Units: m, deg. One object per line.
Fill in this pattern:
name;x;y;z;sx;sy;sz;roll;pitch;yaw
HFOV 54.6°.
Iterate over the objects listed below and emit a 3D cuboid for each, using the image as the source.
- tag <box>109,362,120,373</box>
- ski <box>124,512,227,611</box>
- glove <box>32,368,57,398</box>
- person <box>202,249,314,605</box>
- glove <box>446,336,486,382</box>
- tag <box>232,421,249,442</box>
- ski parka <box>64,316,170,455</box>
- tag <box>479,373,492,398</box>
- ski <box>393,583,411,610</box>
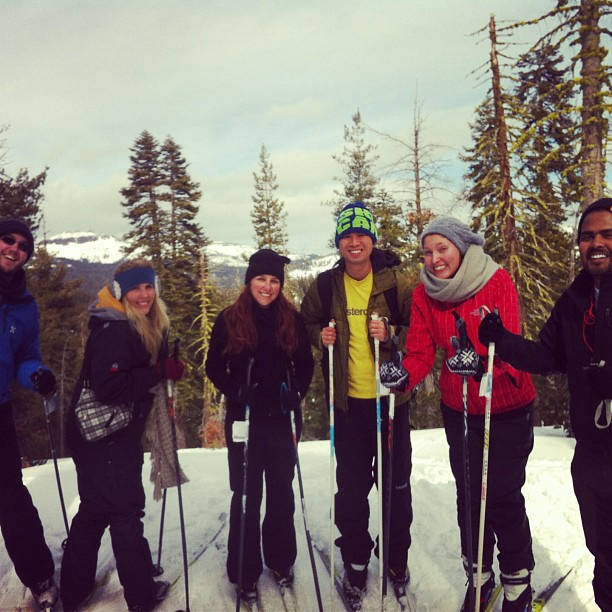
tag;-1.453;0.462;4.461;0.068;0.095;0.010;12;1;-13
ski;-1.072;2.448;6.065;0.168;0.133;1.545;23;11;10
glove;-2.163;0.659;4.967;0.248;0.218;0.090;25;-6;-20
person;-0.348;0.985;5.110;0.880;2.961;0.572;-5;4;-25
glove;1.156;0.340;4.410;0.134;0.305;0.391;-9;-1;-18
tag;-0.544;1.038;4.877;0.153;0.155;0.036;2;-8;1
ski parka;-1.500;0.612;4.644;0.765;1.082;0.422;-5;4;-24
tag;1.275;0.557;4.180;0.044;0.147;0.113;6;-6;-17
ski;0.813;2.461;5.002;0.117;0.080;0.118;-25;-24;-25
